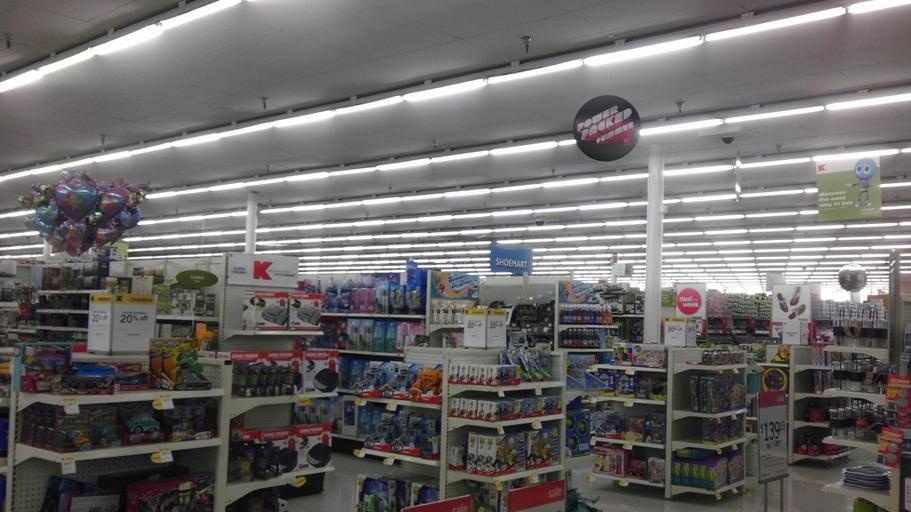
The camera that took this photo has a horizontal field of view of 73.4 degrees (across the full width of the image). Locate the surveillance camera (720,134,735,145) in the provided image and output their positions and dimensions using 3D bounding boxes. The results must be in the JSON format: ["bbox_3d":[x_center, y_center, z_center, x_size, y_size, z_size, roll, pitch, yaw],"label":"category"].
[{"bbox_3d":[5.587,-2.378,12.502,0.183,0.092,0.223,1,-9,-5],"label":"surveillance camera"}]
